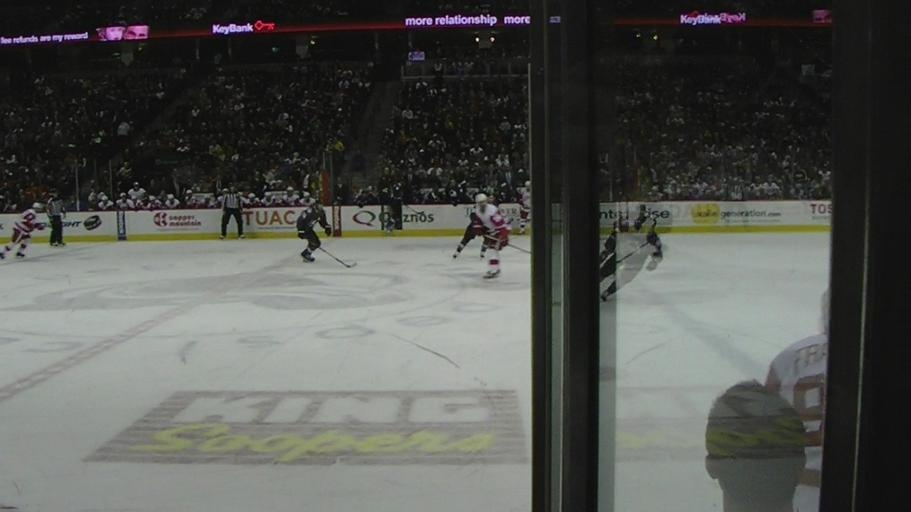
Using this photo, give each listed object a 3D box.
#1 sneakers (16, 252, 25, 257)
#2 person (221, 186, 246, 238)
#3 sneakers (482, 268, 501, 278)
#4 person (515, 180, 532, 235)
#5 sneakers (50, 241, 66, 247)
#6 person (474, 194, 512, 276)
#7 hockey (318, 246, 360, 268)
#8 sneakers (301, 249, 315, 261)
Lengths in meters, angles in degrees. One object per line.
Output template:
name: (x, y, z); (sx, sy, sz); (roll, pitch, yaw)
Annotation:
sneakers: (-9.328, -0.021, 16.552); (0.249, 0.104, 0.080); (1, 2, -9)
person: (-5.719, -1.129, 19.763); (0.630, 1.377, 0.635); (1, 12, 13)
sneakers: (0.584, 0.292, 12.799); (0.254, 0.135, 0.331); (-1, 11, 2)
person: (1.719, -1.254, 19.556); (0.322, 1.344, 0.949); (1, 12, 11)
sneakers: (-9.570, -0.279, 18.586); (0.322, 0.138, 0.124); (1, 4, 2)
person: (0.613, -0.336, 13.188); (0.543, 1.397, 1.348); (-1, 11, 2)
hockey: (-2.377, 0.048, 15.663); (0.665, 0.074, 0.181); (27, -16, 28)
sneakers: (-2.951, -0.005, 15.414); (0.244, 0.221, 0.100); (20, 26, -5)
